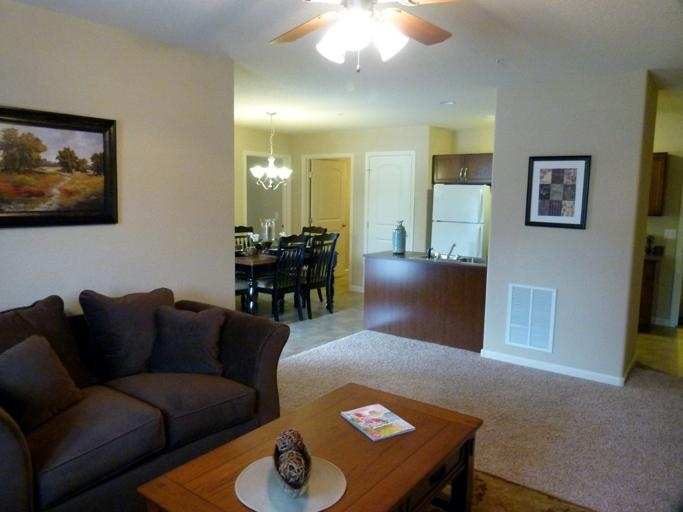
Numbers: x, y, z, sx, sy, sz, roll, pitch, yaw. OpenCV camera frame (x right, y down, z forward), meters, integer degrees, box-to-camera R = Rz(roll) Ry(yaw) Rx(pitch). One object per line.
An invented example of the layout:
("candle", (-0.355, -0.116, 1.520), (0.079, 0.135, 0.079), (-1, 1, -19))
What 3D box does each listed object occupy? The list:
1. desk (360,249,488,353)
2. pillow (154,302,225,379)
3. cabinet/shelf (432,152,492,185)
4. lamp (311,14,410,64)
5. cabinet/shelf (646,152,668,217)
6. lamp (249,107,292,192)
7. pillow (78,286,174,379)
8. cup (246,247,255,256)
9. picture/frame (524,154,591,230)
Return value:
("desk", (1.044, 0.457, 5.928), (1.451, 0.998, 0.802), (7, 15, 28))
("pillow", (-1.072, 0.600, 3.498), (0.480, 0.471, 0.182), (2, -13, -7))
("cabinet/shelf", (1.812, -1.262, 7.250), (0.926, 0.461, 0.288), (5, 18, 34))
("lamp", (0.130, -1.187, 2.795), (0.328, 0.224, 0.443), (10, 14, 40))
("cabinet/shelf", (3.846, -0.862, 6.220), (0.088, 0.702, 0.365), (-10, 17, -5))
("lamp", (-1.104, -1.667, 7.942), (0.732, 1.196, 0.728), (-3, 11, -30))
("pillow", (-1.473, 0.529, 3.578), (0.334, 0.640, 0.625), (10, 14, 39))
("cup", (-1.149, -0.059, 6.372), (0.094, 0.094, 0.097), (0, -2, 0))
("picture/frame", (2.007, -0.595, 4.642), (0.625, 0.856, 0.063), (6, 9, 37))
